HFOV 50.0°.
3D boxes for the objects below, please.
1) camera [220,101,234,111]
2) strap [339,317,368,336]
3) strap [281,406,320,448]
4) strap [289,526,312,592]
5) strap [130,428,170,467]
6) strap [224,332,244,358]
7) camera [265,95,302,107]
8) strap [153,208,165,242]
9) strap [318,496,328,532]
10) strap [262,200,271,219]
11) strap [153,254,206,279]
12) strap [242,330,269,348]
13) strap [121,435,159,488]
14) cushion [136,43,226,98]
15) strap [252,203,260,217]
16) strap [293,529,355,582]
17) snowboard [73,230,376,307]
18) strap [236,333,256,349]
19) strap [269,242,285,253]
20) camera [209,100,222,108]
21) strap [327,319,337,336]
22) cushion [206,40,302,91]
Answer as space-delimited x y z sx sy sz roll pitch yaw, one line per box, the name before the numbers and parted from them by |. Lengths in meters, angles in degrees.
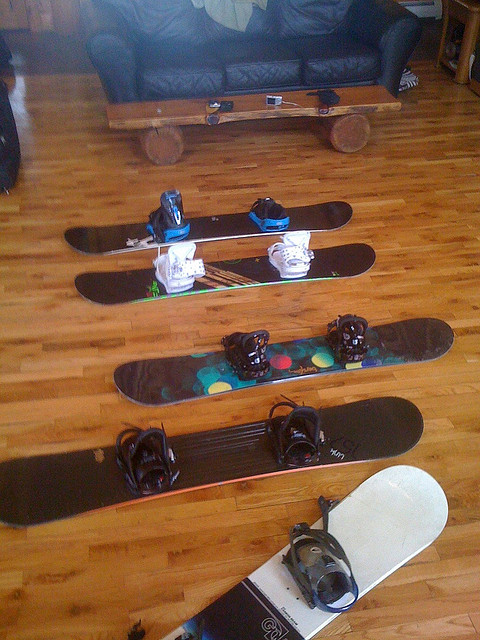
camera | -0.087 -1.452 3.499 0.084 0.020 0.060 -6 51 -7
strap | 0.507 0.030 2.277 0.070 0.081 0.031 3 29 4
strap | 0.222 0.361 1.841 0.122 0.177 0.068 0 46 0
strap | 0.168 0.720 1.520 0.065 0.025 0.109 12 49 -34
strap | -0.301 0.446 1.748 0.122 0.164 0.043 14 64 -19
strap | -0.028 0.113 2.284 0.079 0.039 0.110 0 23 26
camera | 0.309 -1.551 3.626 0.259 0.051 0.142 4 40 1
strap | -0.478 -0.537 2.957 0.079 0.085 0.126 -4 73 -15
strap | 0.278 0.658 1.737 0.017 0.017 0.110 -19 53 17
strap | 0.169 -0.662 3.116 0.030 0.019 0.112 0 80 2
strap | -0.350 -0.268 2.726 0.322 0.096 0.116 -5 9 20
strap | 0.066 0.075 2.180 0.110 0.094 0.051 -1 41 -5
strap | -0.371 0.494 1.864 0.108 0.066 0.149 -2 52 -22
cushion | -0.430 -1.789 3.701 0.554 0.202 0.570 -6 48 -9
strap | 0.103 -0.672 3.151 0.015 0.086 0.020 -22 58 -33
strap | 0.261 0.711 1.570 0.089 0.034 0.151 -22 36 -15
snowboard | -0.105 -0.266 2.845 1.120 0.184 0.284 -7 37 -13
strap | 0.024 0.094 2.218 0.048 0.034 0.087 9 85 3
strap | 0.200 -0.420 2.912 0.055 0.035 0.092 -23 60 -11
camera | -0.165 -1.466 3.504 0.065 0.016 0.059 2 56 -1
strap | 0.429 0.038 2.430 0.023 0.093 0.014 10 50 -14
cushion | 0.151 -1.901 3.836 0.526 0.153 0.518 -7 42 -12
